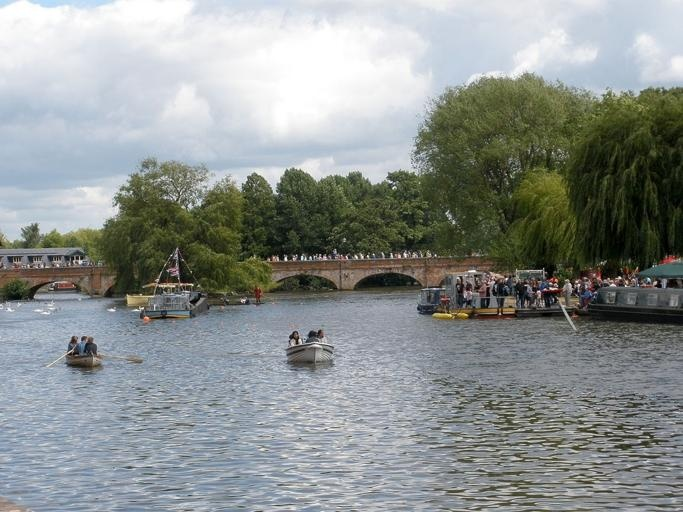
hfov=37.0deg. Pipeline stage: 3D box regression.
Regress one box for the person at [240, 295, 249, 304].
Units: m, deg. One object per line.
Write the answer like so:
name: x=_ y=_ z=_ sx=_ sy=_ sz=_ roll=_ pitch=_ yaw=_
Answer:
person: x=-9.566 y=4.396 z=100.026 sx=0.614 sy=0.638 sz=0.970 roll=-14 pitch=1 yaw=-15

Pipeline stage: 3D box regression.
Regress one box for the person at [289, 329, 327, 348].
person: x=-1.550 y=3.905 z=48.472 sx=1.033 sy=0.608 sz=1.455 roll=0 pitch=-9 yaw=-13

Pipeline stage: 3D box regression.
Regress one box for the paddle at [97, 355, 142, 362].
paddle: x=-10.955 y=5.017 z=49.847 sx=2.629 sy=0.272 sz=0.368 roll=-3 pitch=44 yaw=49

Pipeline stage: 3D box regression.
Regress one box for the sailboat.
sailboat: x=-14.164 y=3.377 z=85.722 sx=3.651 sy=5.133 sz=10.627 roll=-1 pitch=-1 yaw=-1

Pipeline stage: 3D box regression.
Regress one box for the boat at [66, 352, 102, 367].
boat: x=-12.361 y=4.909 z=48.176 sx=1.833 sy=0.596 sz=0.768 roll=0 pitch=5 yaw=26

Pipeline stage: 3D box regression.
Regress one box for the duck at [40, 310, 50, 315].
duck: x=-26.573 y=5.042 z=91.114 sx=0.890 sy=0.448 sz=1.198 roll=1 pitch=3 yaw=-25

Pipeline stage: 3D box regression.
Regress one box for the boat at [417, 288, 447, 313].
boat: x=6.358 y=2.957 z=74.535 sx=2.497 sy=2.213 sz=1.624 roll=-3 pitch=-6 yaw=40

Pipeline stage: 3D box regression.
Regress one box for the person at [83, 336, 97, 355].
person: x=-11.948 y=4.264 z=48.267 sx=0.585 sy=0.796 sz=1.236 roll=-3 pitch=4 yaw=-15

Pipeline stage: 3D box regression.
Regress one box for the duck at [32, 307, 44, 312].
duck: x=-28.496 y=5.098 z=95.553 sx=0.692 sy=0.356 sz=0.988 roll=2 pitch=6 yaw=-3

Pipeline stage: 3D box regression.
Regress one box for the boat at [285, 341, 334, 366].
boat: x=-1.554 y=4.479 z=47.633 sx=2.019 sy=1.048 sz=1.155 roll=-2 pitch=4 yaw=1
